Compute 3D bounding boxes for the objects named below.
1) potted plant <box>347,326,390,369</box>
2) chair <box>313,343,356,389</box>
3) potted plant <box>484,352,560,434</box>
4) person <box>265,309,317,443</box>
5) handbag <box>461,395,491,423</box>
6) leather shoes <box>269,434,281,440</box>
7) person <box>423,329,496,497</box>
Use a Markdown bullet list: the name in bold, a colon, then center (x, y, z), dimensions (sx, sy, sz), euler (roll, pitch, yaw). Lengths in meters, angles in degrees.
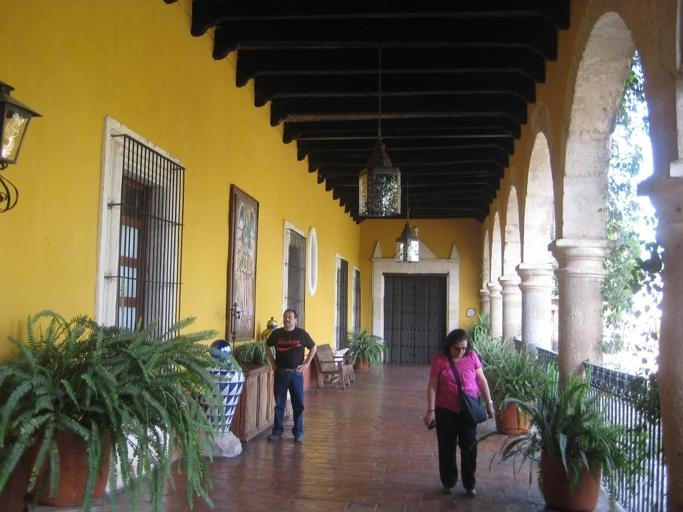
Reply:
- **potted plant**: center (0.612, 2.300, 14.435), dimensions (0.813, 0.812, 0.958), euler (2, -15, 2)
- **chair**: center (-0.147, 2.216, 11.336), dimensions (0.595, 0.979, 1.548), euler (3, -5, 7)
- **potted plant**: center (1.966, 1.492, 6.299), dimensions (0.793, 1.104, 0.806), euler (8, -11, -26)
- **person**: center (-0.632, 1.419, 7.193), dimensions (0.585, 1.499, 1.279), euler (1, -6, -4)
- **handbag**: center (1.167, 1.328, 5.047), dimensions (0.245, 0.285, 0.097), euler (13, -34, -43)
- **leather shoes**: center (-0.773, 2.065, 6.588), dimensions (0.053, 0.070, 0.138), euler (-5, -19, 27)
- **person**: center (1.074, 1.374, 5.183), dimensions (0.501, 1.593, 0.376), euler (0, 9, 21)
